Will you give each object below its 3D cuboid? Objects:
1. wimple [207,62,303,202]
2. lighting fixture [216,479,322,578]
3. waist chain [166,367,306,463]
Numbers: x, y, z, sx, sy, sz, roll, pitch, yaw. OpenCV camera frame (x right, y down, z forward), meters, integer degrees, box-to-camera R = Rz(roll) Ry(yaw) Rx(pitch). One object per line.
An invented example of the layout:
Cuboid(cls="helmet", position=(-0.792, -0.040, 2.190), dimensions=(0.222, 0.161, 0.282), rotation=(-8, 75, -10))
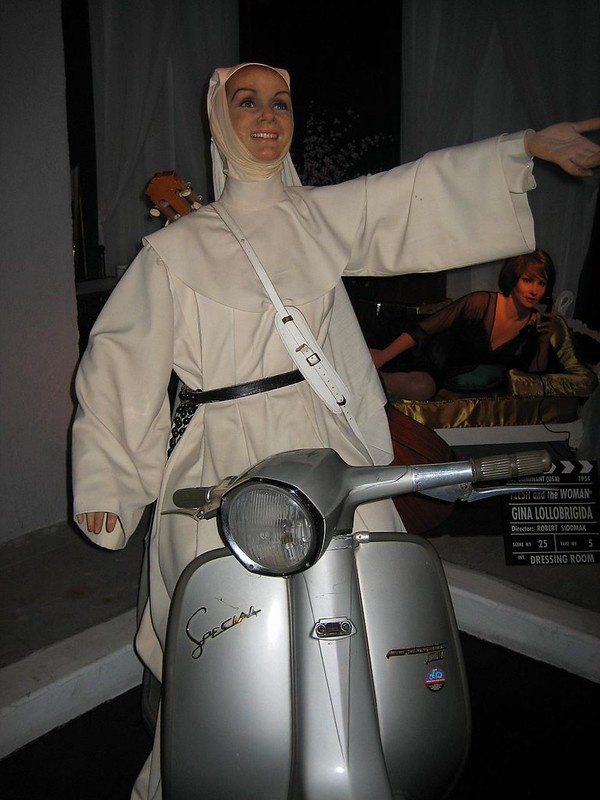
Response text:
Cuboid(cls="wimple", position=(-0.118, -0.555, 1.318), dimensions=(0.163, 0.262, 0.147), rotation=(0, -4, -3))
Cuboid(cls="lighting fixture", position=(-0.017, 0.148, 0.702), dimensions=(0.144, 0.164, 0.038), rotation=(-1, 63, 13))
Cuboid(cls="waist chain", position=(-0.117, 0.028, 1.204), dimensions=(0.214, 0.124, 0.164), rotation=(-4, 0, 14))
